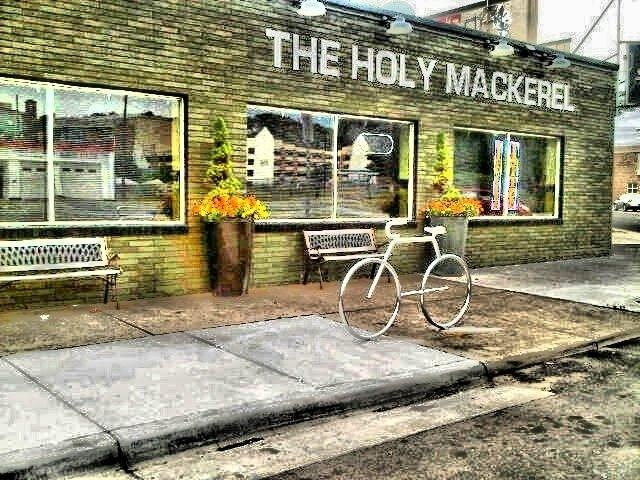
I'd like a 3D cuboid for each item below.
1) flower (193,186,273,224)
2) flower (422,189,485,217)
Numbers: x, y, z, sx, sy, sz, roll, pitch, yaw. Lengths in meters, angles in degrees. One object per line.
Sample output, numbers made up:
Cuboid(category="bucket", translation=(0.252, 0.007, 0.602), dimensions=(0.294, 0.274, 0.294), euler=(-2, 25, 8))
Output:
Cuboid(category="flower", translation=(-1.446, -0.615, 9.097), dimensions=(0.792, 0.343, 1.017), euler=(5, 5, 32))
Cuboid(category="flower", translation=(3.224, -0.791, 11.870), dimensions=(0.984, 0.400, 0.964), euler=(0, 1, 30))
